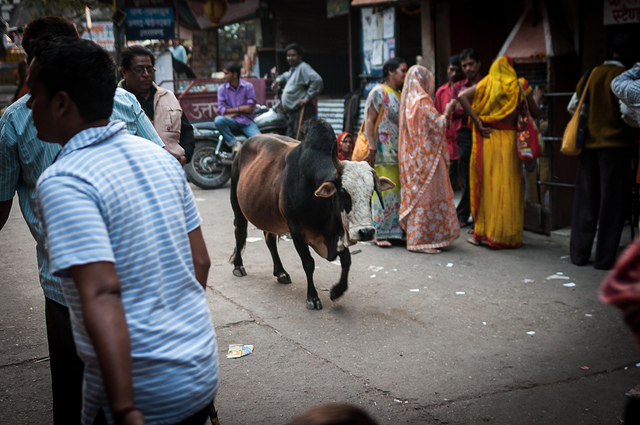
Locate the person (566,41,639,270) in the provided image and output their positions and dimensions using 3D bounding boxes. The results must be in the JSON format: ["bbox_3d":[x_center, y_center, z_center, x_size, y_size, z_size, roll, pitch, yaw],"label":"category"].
[{"bbox_3d":[3.203,-0.614,6.055,0.629,2.467,0.812,-2,14,3],"label":"person"}]

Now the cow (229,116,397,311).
[{"bbox_3d":[-0.203,-0.049,5.699,0.613,1.844,1.957,-14,18,-39],"label":"cow"}]

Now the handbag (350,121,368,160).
[{"bbox_3d":[0.607,-1.015,7.627,0.306,0.514,0.524,10,13,2],"label":"handbag"}]

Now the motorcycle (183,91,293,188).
[{"bbox_3d":[-2.260,-1.465,11.644,1.184,1.819,2.948,15,3,-13],"label":"motorcycle"}]

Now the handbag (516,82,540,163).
[{"bbox_3d":[2.564,-1.116,6.676,0.248,0.893,0.379,-1,14,8],"label":"handbag"}]

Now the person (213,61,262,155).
[{"bbox_3d":[-1.508,-1.961,10.399,1.074,1.784,0.971,7,21,28],"label":"person"}]

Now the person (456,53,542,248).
[{"bbox_3d":[2.247,-0.734,6.882,0.834,2.355,0.444,3,15,21],"label":"person"}]

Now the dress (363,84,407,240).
[{"bbox_3d":[0.904,-0.717,7.552,0.766,2.023,0.664,-8,13,-25],"label":"dress"}]

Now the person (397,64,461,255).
[{"bbox_3d":[1.388,-0.680,6.963,0.747,2.316,0.662,0,14,10],"label":"person"}]
